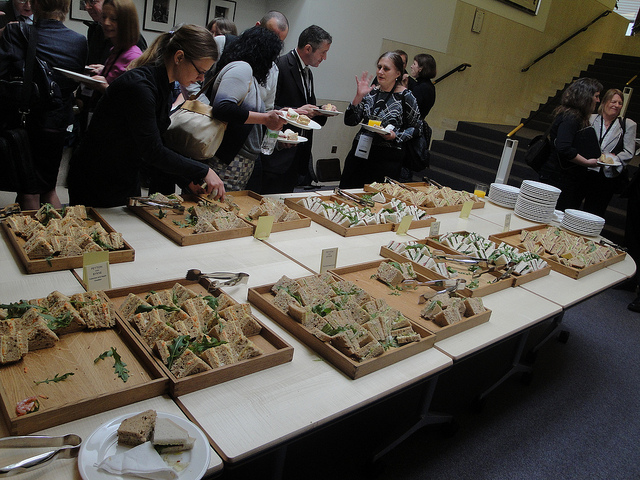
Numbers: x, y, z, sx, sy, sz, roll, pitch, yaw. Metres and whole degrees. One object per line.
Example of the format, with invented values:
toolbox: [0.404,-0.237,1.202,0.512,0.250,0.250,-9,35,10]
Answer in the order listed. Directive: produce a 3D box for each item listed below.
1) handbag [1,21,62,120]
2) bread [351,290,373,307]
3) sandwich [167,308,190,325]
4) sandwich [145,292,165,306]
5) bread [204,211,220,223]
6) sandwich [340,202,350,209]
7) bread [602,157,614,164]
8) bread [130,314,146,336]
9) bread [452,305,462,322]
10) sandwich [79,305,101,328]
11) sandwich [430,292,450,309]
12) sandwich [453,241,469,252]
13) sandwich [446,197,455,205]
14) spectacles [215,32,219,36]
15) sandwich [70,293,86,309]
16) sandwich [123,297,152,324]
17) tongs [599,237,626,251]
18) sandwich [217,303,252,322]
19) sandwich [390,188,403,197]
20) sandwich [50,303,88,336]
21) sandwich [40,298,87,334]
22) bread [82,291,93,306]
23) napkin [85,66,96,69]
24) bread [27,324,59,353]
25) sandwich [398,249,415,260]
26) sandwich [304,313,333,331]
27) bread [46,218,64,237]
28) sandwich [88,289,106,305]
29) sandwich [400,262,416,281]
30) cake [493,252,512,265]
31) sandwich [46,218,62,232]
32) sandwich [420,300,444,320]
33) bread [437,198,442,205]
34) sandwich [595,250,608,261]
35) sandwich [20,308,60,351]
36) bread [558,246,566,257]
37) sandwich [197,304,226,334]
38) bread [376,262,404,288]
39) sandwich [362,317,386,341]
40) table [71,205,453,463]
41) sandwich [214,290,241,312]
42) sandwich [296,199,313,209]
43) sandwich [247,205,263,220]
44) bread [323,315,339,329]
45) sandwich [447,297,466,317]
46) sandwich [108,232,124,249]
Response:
handbag: [-1.937,-1.107,2.533,0.301,0.594,0.174,5,25,-9]
bread: [0.188,0.272,1.758,0.070,0.021,0.070,-35,59,-11]
sandwich: [-0.520,0.282,1.396,0.052,0.016,0.053,13,38,31]
sandwich: [-0.632,0.229,1.466,0.047,0.013,0.049,-22,40,-40]
bread: [-0.674,-0.140,2.334,0.064,0.015,0.061,30,33,22]
sandwich: [0.187,-0.268,2.950,0.051,0.014,0.053,-13,33,-39]
bread: [3.170,-0.882,4.242,0.096,0.035,0.070,32,50,32]
bread: [-0.647,0.307,1.379,0.016,0.058,0.056,-23,63,-32]
bread: [0.639,0.349,1.795,0.049,0.049,0.015,-14,12,4]
sandwich: [-0.810,0.271,1.354,0.076,0.020,0.072,4,53,-49]
sandwich: [0.600,0.301,1.877,0.063,0.015,0.059,-10,31,-13]
sandwich: [0.957,0.049,2.615,0.063,0.018,0.068,-28,43,-22]
sandwich: [1.197,-0.360,3.559,0.063,0.016,0.067,-8,53,-27]
spectacles: [-1.077,-2.155,3.981,0.039,0.034,0.342,2,27,-17]
sandwich: [-0.880,0.222,1.401,0.053,0.016,0.051,28,36,27]
sandwich: [-0.689,0.267,1.431,0.081,0.024,0.083,-46,58,-7]
tongs: [2.905,0.041,3.809,0.031,0.055,0.171,-43,51,-12]
sandwich: [-0.333,0.279,1.493,0.076,0.023,0.076,10,24,39]
sandwich: [0.692,-0.436,3.524,0.081,0.021,0.073,17,45,23]
sandwich: [-0.858,0.276,1.314,0.102,0.036,0.103,37,33,10]
sandwich: [-0.875,0.263,1.300,0.107,0.038,0.110,37,47,21]
bread: [-0.861,0.219,1.427,0.034,0.014,0.065,-8,50,-25]
napkin: [-1.849,-1.387,3.072,0.078,0.017,0.062,-16,36,-42]
bread: [-0.880,0.315,1.208,0.079,0.049,0.080,11,16,26]
sandwich: [0.534,0.087,2.335,0.064,0.019,0.068,-21,38,-29]
sandwich: [-0.023,0.333,1.532,0.065,0.016,0.061,-29,57,-28]
bread: [-1.238,-0.051,1.775,0.083,0.023,0.087,35,27,8]
sandwich: [-0.841,0.216,1.445,0.048,0.012,0.051,-11,33,-43]
sandwich: [0.483,0.177,2.118,0.073,0.031,0.093,-6,43,-15]
cake: [1.175,0.115,2.491,0.081,0.052,0.077,-25,34,0]
sandwich: [-1.266,-0.079,1.837,0.062,0.019,0.063,33,28,33]
sandwich: [0.539,0.326,1.834,0.073,0.037,0.101,3,32,42]
bread: [1.078,-0.348,3.485,0.054,0.013,0.058,8,34,17]
sandwich: [2.150,0.122,2.947,0.061,0.011,0.083,-25,84,-45]
sandwich: [-0.914,0.293,1.247,0.084,0.092,0.126,-14,34,-41]
bread: [1.831,0.084,2.907,0.016,0.064,0.062,43,66,-10]
sandwich: [-0.410,0.289,1.415,0.073,0.029,0.095,-7,37,-5]
bread: [0.366,0.187,2.072,0.104,0.055,0.130,-10,41,-46]
sandwich: [0.216,0.362,1.553,0.089,0.024,0.085,-28,81,-38]
table: [-0.341,0.265,1.703,0.903,0.084,1.464,-12,34,-38]
sandwich: [-0.381,0.243,1.560,0.075,0.020,0.076,18,26,32]
sandwich: [-0.114,-0.270,2.813,0.079,0.021,0.077,7,25,7]
sandwich: [-0.431,-0.181,2.545,0.082,0.036,0.111,2,31,1]
bread: [0.041,0.327,1.525,0.046,0.013,0.044,12,34,-54]
sandwich: [0.658,0.317,1.851,0.024,0.083,0.083,-32,43,12]
sandwich: [-0.988,0.003,1.859,0.072,0.019,0.071,-13,71,-46]
